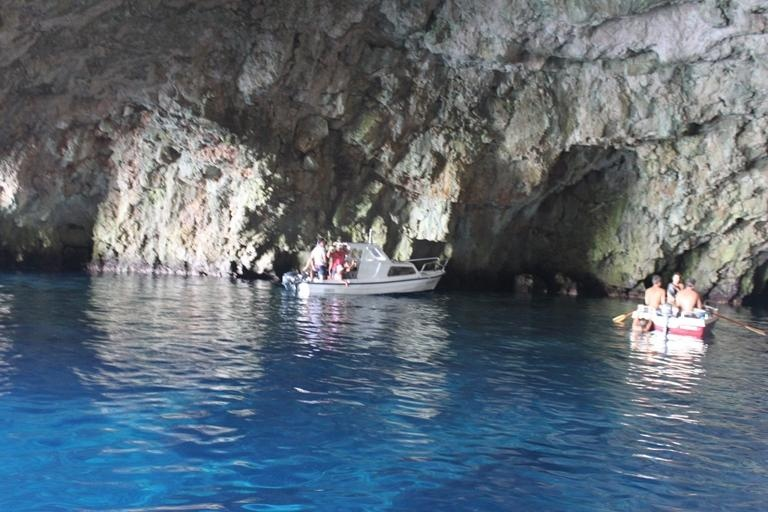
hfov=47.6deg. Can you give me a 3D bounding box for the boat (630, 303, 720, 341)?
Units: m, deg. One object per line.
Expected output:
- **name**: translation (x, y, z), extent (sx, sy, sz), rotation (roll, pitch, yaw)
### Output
- **boat**: translation (9.537, 2.199, 28.638), extent (1.886, 0.664, 1.406), rotation (6, 0, 25)

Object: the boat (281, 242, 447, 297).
- **boat**: translation (-0.515, 0.819, 35.153), extent (7.132, 2.281, 2.491), rotation (-2, 2, -13)

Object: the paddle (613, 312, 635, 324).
- **paddle**: translation (8.642, 2.232, 31.493), extent (0.829, 0.166, 0.066), rotation (-29, -2, 12)
